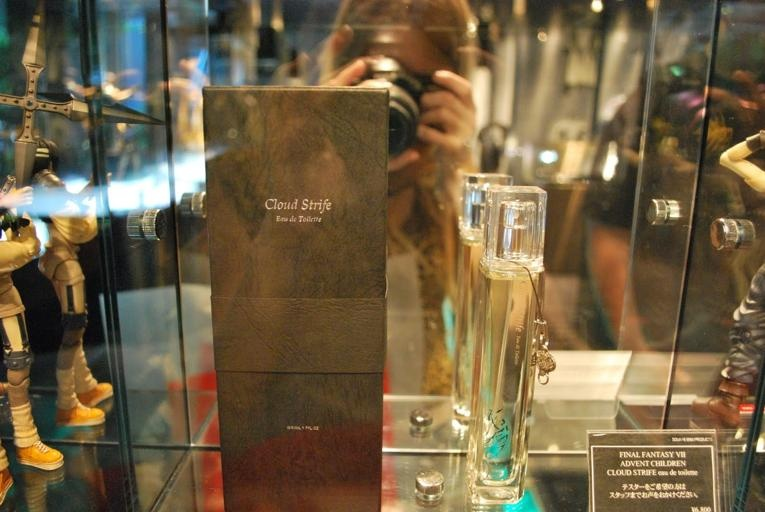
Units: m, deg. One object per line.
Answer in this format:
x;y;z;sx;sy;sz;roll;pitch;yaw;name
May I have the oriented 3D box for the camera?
0.027;-0.226;1.064;0.108;0.150;0.174;1;3;-5;camera
